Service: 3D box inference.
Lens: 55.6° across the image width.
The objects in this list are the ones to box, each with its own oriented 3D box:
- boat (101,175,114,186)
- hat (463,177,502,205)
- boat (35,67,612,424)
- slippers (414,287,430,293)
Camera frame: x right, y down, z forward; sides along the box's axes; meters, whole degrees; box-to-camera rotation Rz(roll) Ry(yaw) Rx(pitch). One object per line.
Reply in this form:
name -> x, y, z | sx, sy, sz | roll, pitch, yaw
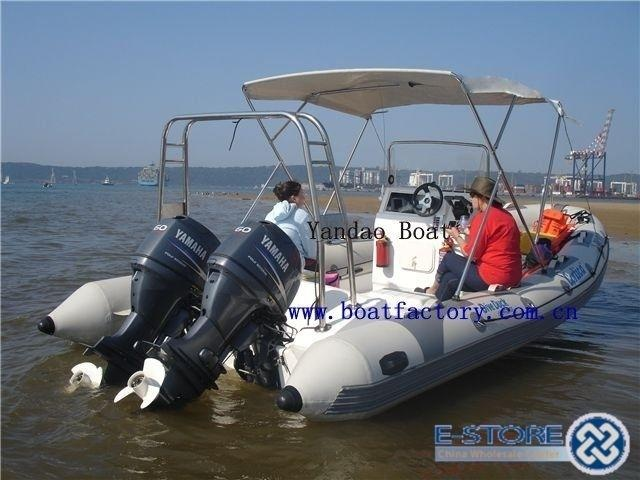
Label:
boat -> -38.559, -10.914, 109.696 | 2.201, 1.884, 2.019 | 0, -3, -1
hat -> 1.645, -0.511, 6.117 | 0.331, 0.131, 0.256 | 24, 9, 32
boat -> 0.992, -0.161, 6.705 | 6.072, 2.027, 3.267 | -7, 11, -44
slippers -> 1.069, 0.517, 6.344 | 0.099, 0.025, 0.064 | 5, 19, 36
